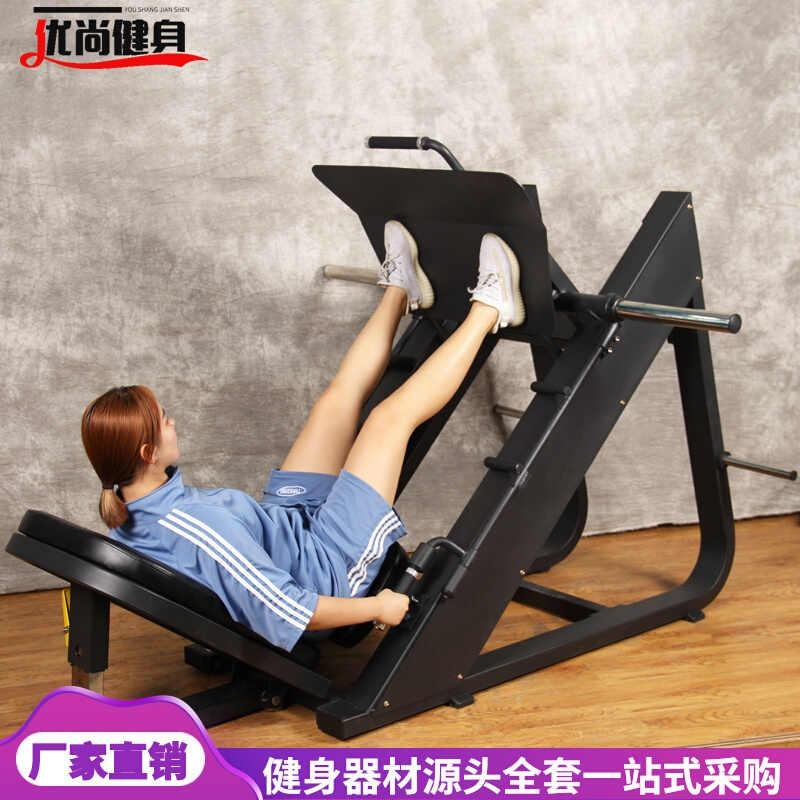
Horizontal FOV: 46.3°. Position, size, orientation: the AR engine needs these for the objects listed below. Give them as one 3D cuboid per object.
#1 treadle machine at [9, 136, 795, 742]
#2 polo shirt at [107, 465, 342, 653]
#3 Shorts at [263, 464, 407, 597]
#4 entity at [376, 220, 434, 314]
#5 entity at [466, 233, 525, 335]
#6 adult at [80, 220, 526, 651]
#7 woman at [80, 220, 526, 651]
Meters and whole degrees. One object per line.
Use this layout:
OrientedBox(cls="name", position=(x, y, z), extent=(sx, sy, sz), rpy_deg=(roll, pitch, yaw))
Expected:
OrientedBox(cls="treadle machine", position=(-0.096, -0.007, 2.676), extent=(2.101, 1.148, 1.609), rpy_deg=(-4, 8, -34))
OrientedBox(cls="polo shirt", position=(-0.270, 0.323, 1.967), extent=(0.528, 0.183, 0.381), rpy_deg=(-4, 18, -40))
OrientedBox(cls="Shorts", position=(-0.145, 0.289, 2.176), extent=(0.304, 0.138, 0.324), rpy_deg=(18, 59, 3))
OrientedBox(cls="entity", position=(0.018, -0.345, 2.444), extent=(0.120, 0.226, 0.118), rpy_deg=(9, 36, 40))
OrientedBox(cls="entity", position=(0.245, -0.277, 2.248), extent=(0.110, 0.238, 0.142), rpy_deg=(12, 32, 42))
OrientedBox(cls="adult", position=(-0.200, 0.082, 2.274), extent=(0.719, 0.617, 1.196), rpy_deg=(16, 35, 31))
OrientedBox(cls="woman", position=(-0.188, 0.097, 2.257), extent=(0.725, 0.620, 1.267), rpy_deg=(26, 37, 29))
